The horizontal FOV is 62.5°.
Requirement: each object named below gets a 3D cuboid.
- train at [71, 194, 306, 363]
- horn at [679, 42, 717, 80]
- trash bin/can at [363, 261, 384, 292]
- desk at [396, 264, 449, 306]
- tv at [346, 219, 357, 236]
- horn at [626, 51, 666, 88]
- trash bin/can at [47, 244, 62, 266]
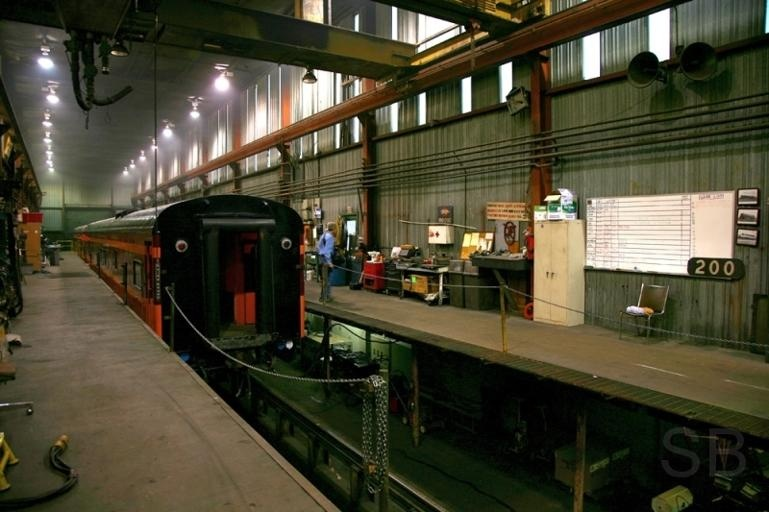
[{"bbox_3d":[-4.014,0.203,13.950,1.921,2.635,9.164,-3,4,-28],"label":"train"},{"bbox_3d":[6.221,-3.753,12.655,0.684,0.757,0.712,-2,3,29],"label":"horn"},{"bbox_3d":[-0.292,0.569,18.050,0.400,0.851,0.763,2,-4,-19],"label":"trash bin/can"},{"bbox_3d":[1.039,0.700,16.546,0.544,0.948,1.738,-1,5,-34],"label":"desk"},{"bbox_3d":[-1.056,-0.900,20.296,0.158,0.505,0.476,-6,5,-32],"label":"tv"},{"bbox_3d":[5.214,-3.774,12.906,0.562,0.711,0.618,0,8,16],"label":"horn"},{"bbox_3d":[-14.222,-0.029,27.372,0.562,0.624,0.837,3,-4,-44],"label":"trash bin/can"}]
